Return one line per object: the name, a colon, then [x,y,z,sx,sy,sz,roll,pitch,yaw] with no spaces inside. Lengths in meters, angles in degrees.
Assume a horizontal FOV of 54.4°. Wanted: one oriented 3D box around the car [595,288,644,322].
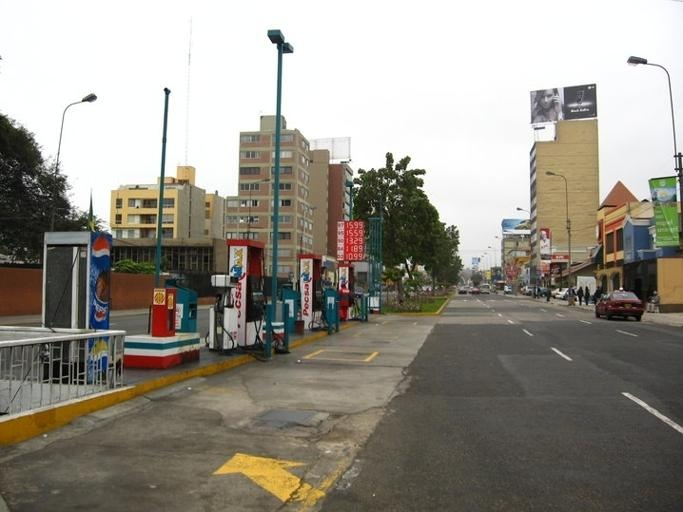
car: [14.766,2.633,35.302,1.537,1.480,2.687,1,0,4]
